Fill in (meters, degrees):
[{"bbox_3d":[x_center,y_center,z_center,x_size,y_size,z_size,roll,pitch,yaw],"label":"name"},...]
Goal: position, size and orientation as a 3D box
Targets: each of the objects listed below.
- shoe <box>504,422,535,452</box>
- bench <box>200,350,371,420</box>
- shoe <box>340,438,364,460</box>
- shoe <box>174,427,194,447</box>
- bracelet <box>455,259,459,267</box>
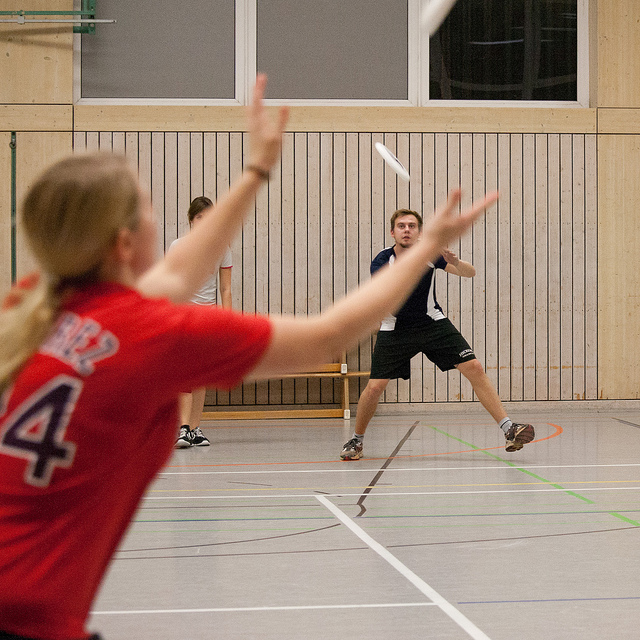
[{"bbox_3d":[1.039,0.632,5.374,0.101,0.106,0.212,3,-35,-47],"label":"shoe"},{"bbox_3d":[-0.225,0.554,8.053,1.192,0.543,0.895,6,2,1],"label":"bench"},{"bbox_3d":[0.172,0.713,5.441,0.103,0.117,0.257,-1,-9,8],"label":"shoe"},{"bbox_3d":[-0.816,0.706,5.974,0.089,0.111,0.294,6,2,3],"label":"shoe"},{"bbox_3d":[0.619,-0.268,4.562,0.008,0.030,0.031,22,-25,-34],"label":"bracelet"}]
